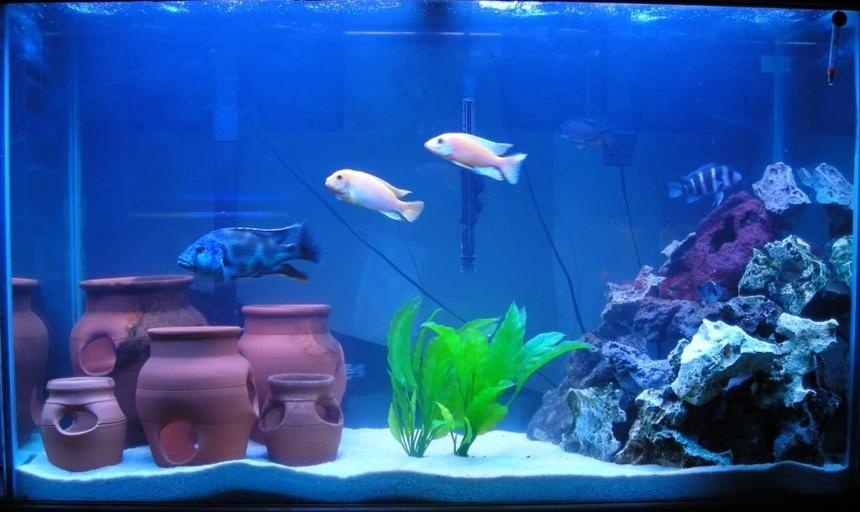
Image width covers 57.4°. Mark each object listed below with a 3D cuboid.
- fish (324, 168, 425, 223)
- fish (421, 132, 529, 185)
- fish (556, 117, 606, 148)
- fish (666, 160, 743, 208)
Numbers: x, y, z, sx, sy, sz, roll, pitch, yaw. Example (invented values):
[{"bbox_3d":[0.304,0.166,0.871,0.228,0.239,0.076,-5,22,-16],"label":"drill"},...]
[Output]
[{"bbox_3d":[-0.409,-0.459,5.860,0.718,0.339,0.189,-1,-6,-36],"label":"fish"},{"bbox_3d":[0.313,-0.751,6.026,0.817,0.322,0.162,13,23,-19],"label":"fish"},{"bbox_3d":[1.220,-0.991,6.286,0.368,0.212,0.074,-4,-5,-14],"label":"fish"},{"bbox_3d":[2.184,-0.578,6.246,0.725,0.360,0.224,-4,8,5],"label":"fish"}]
